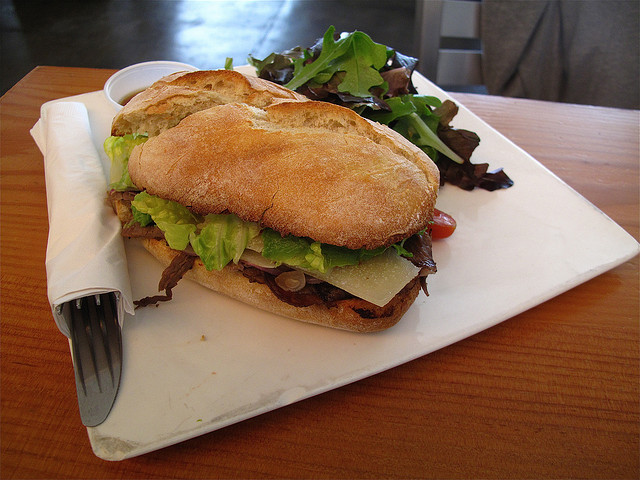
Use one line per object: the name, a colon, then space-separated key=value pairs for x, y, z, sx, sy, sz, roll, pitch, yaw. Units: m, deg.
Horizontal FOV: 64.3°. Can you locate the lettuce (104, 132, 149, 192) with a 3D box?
lettuce: x=-1.018 y=-0.456 z=2.647 sx=0.066 sy=0.238 sz=0.280 roll=-41 pitch=38 yaw=20

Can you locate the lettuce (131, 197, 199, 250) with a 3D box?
lettuce: x=-0.717 y=-0.096 z=2.348 sx=0.299 sy=0.089 sz=0.208 roll=44 pitch=40 yaw=17

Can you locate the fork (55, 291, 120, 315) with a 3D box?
fork: x=-1.008 y=0.245 z=2.141 sx=0.230 sy=0.025 sz=0.089 roll=-23 pitch=41 yaw=7

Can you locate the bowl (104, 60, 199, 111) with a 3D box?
bowl: x=-1.091 y=-0.886 z=3.214 sx=0.455 sy=0.449 sz=0.172 roll=-14 pitch=68 yaw=16

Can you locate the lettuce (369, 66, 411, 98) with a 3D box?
lettuce: x=0.432 y=-0.933 z=3.079 sx=0.244 sy=0.058 sz=0.169 roll=-9 pitch=61 yaw=21

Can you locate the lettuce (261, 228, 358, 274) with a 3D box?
lettuce: x=-0.077 y=0.055 z=2.182 sx=0.272 sy=0.053 sz=0.207 roll=14 pitch=16 yaw=34

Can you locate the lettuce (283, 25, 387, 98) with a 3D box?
lettuce: x=0.157 y=-1.021 z=2.974 sx=0.500 sy=0.205 sz=0.485 roll=23 pitch=47 yaw=21
